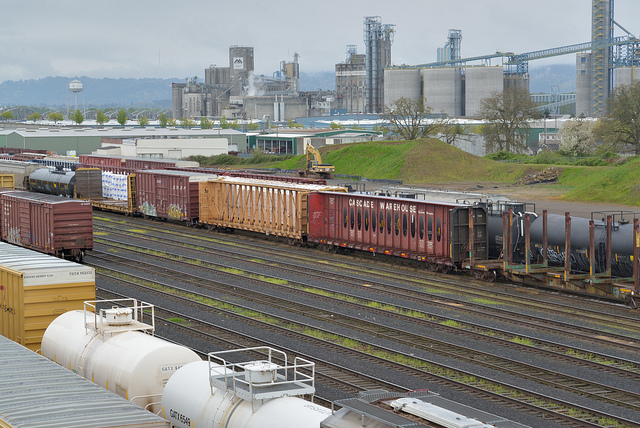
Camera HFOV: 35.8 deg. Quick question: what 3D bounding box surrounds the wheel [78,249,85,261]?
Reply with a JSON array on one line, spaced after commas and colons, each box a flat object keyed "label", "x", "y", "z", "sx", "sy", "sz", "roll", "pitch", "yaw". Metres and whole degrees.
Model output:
[{"label": "wheel", "x": -14.718, "y": 2.497, "z": 61.023, "sx": 0.281, "sy": 0.890, "sz": 0.792, "roll": 1, "pitch": -4, "yaw": -18}]

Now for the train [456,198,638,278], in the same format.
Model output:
[{"label": "train", "x": 13.090, "y": 1.008, "z": 57.815, "sx": 3.534, "sy": 4.713, "sz": 14.898, "roll": -5, "pitch": 7, "yaw": -31}]

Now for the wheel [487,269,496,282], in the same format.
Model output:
[{"label": "wheel", "x": 9.889, "y": 3.512, "z": 56.943, "sx": 0.263, "sy": 0.762, "sz": 0.779, "roll": 1, "pitch": 0, "yaw": -26}]

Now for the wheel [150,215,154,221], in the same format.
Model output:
[{"label": "wheel", "x": -14.033, "y": 0.313, "z": 82.775, "sx": 0.255, "sy": 0.299, "sz": 0.456, "roll": -1, "pitch": 6, "yaw": -3}]

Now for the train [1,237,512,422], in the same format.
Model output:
[{"label": "train", "x": -5.298, "y": 6.002, "z": 44.591, "sx": 23.887, "sy": 8.796, "sz": 12.628, "roll": -3, "pitch": -3, "yaw": -4}]
